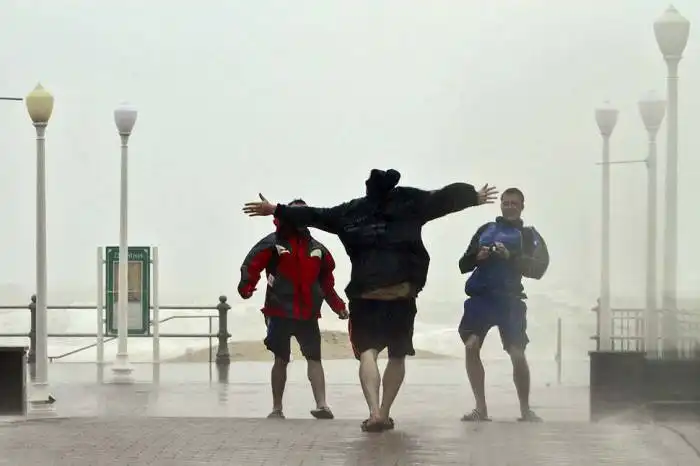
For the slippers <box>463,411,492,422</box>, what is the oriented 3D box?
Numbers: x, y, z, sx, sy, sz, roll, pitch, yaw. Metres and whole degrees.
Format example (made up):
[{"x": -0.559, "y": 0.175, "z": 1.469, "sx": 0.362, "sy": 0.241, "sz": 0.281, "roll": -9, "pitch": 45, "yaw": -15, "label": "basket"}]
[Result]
[{"x": 1.462, "y": 2.066, "z": 11.722, "sx": 0.373, "sy": 0.160, "sz": 0.144, "roll": 6, "pitch": -8, "yaw": -10, "label": "slippers"}]

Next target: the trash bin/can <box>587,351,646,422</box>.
[{"x": 3.055, "y": 1.771, "z": 11.891, "sx": 0.664, "sy": 0.797, "sz": 0.695, "roll": 7, "pitch": -11, "yaw": -21, "label": "trash bin/can"}]

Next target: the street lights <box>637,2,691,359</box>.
[{"x": 3.726, "y": -0.604, "z": 11.798, "sx": 0.534, "sy": 2.694, "sz": 0.366, "roll": -4, "pitch": -3, "yaw": 18, "label": "street lights"}]
